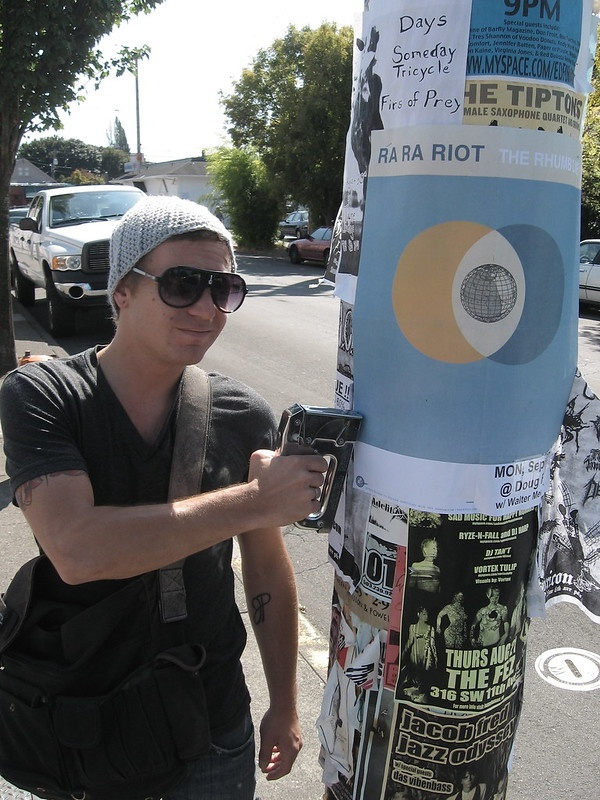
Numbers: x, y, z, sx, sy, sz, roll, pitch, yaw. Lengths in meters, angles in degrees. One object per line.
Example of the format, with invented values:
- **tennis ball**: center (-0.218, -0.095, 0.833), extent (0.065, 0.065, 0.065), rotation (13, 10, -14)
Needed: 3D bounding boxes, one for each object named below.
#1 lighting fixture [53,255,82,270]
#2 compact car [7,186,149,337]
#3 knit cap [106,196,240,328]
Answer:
- **lighting fixture**: center (-3.700, -2.176, 10.638), extent (0.247, 0.142, 0.354), rotation (3, 15, -1)
- **compact car**: center (-4.144, -2.731, 13.416), extent (2.860, 2.712, 6.039), rotation (-5, 15, -25)
- **knit cap**: center (-0.294, -0.320, 1.489), extent (0.213, 0.201, 0.225), rotation (-4, -28, -20)
